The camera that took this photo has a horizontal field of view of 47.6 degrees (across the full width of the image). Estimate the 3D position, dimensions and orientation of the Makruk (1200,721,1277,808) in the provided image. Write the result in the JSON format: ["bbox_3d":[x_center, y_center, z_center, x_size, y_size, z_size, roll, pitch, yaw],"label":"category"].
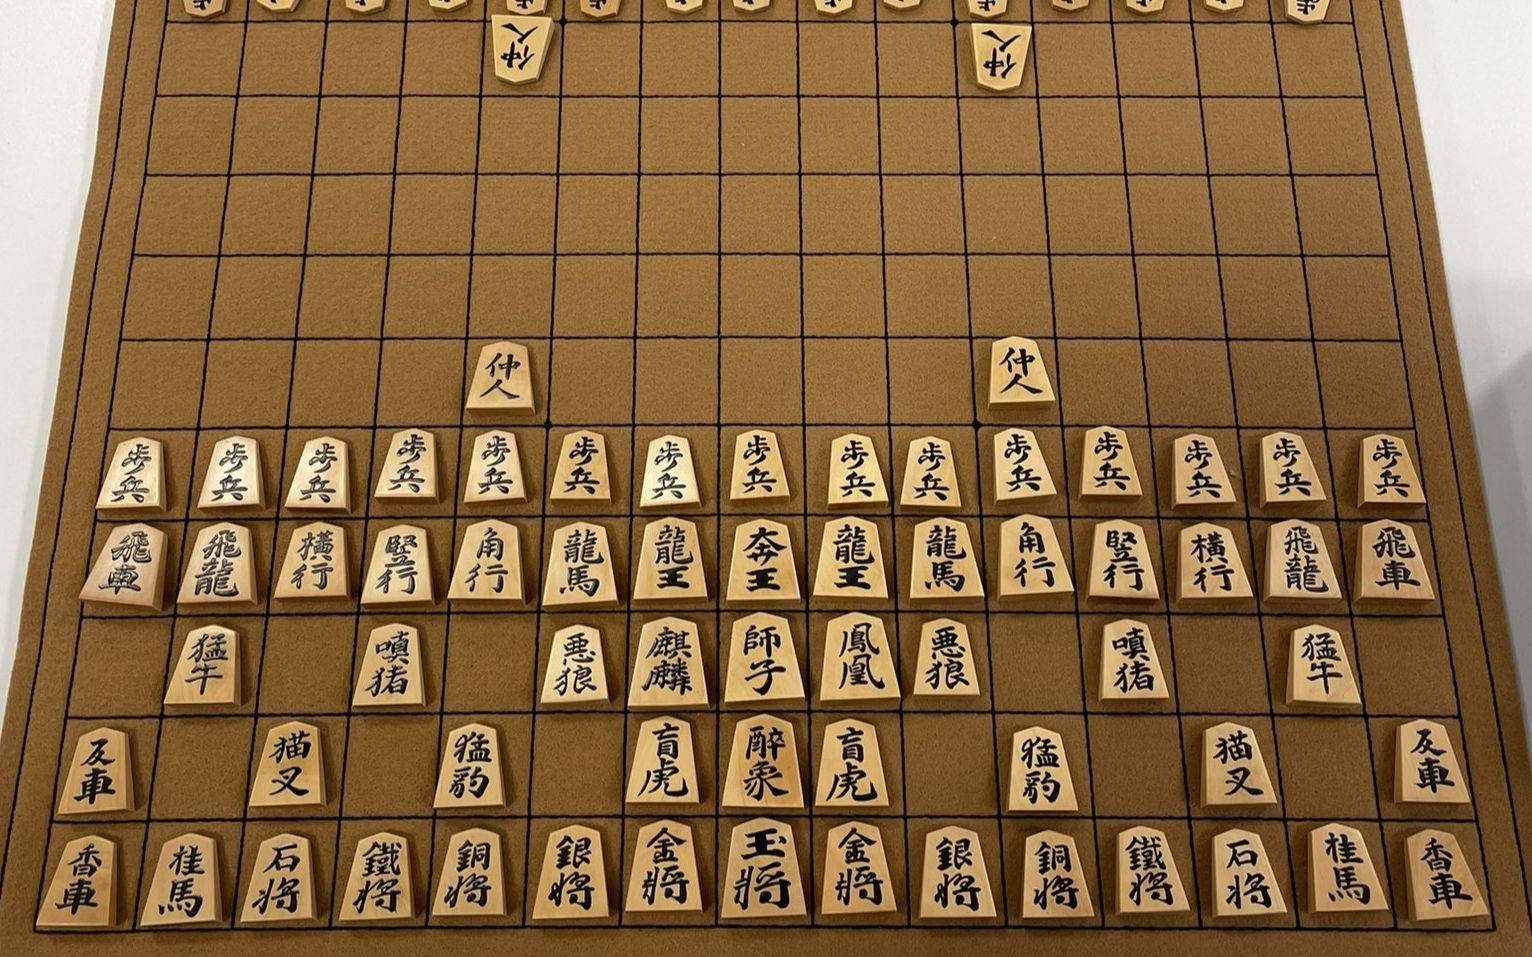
[{"bbox_3d":[1.111,0.682,4.084,0.176,0.068,0.212,-2,76,1],"label":"Makruk"}]

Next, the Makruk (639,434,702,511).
[{"bbox_3d":[-0.234,-0.004,4.194,0.180,0.026,0.249,-1,61,0],"label":"Makruk"}]

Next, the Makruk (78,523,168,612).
[{"bbox_3d":[-1.526,0.213,4.150,0.166,0.045,0.197,2,68,-3],"label":"Makruk"}]

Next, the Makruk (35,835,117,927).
[{"bbox_3d":[-1.609,0.944,4.047,0.172,0.173,0.129,1,28,-10],"label":"Makruk"}]

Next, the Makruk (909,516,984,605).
[{"bbox_3d":[0.434,0.197,4.160,0.173,0.154,0.125,7,28,2],"label":"Makruk"}]

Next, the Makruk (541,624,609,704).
[{"bbox_3d":[-0.452,0.442,4.124,0.153,0.144,0.121,3,28,-6],"label":"Makruk"}]

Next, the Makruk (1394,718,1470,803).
[{"bbox_3d":[1.569,0.668,4.090,0.165,0.152,0.120,5,28,-1],"label":"Makruk"}]

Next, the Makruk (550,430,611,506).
[{"bbox_3d":[-0.449,-0.015,4.196,0.191,0.028,0.246,0,57,-1],"label":"Makruk"}]

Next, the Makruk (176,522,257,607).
[{"bbox_3d":[-1.315,0.210,4.162,0.180,0.158,0.128,2,28,-8],"label":"Makruk"}]

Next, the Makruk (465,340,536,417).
[{"bbox_3d":[-0.662,-0.244,4.246,0.139,0.037,0.179,3,71,-4],"label":"Makruk"}]

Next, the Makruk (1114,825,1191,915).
[{"bbox_3d":[0.892,0.918,4.046,0.154,0.042,0.184,-5,73,1],"label":"Makruk"}]

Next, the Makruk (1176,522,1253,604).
[{"bbox_3d":[1.081,0.209,4.181,0.167,0.047,0.209,4,62,7],"label":"Makruk"}]

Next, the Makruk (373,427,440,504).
[{"bbox_3d":[-0.872,-0.032,4.220,0.149,0.041,0.193,-8,65,7],"label":"Makruk"}]

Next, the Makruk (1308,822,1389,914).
[{"bbox_3d":[1.341,0.915,4.046,0.157,0.183,0.185,-2,79,5],"label":"Makruk"}]

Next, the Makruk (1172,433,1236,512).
[{"bbox_3d":[1.055,-0.015,4.194,0.146,0.140,0.115,5,28,-2],"label":"Makruk"}]

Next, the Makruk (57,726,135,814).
[{"bbox_3d":[-1.580,0.695,4.084,0.190,0.038,0.252,0,72,-3],"label":"Makruk"}]

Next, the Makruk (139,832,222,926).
[{"bbox_3d":[-1.363,0.938,4.053,0.180,0.174,0.129,3,28,-6],"label":"Makruk"}]

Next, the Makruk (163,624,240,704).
[{"bbox_3d":[-1.340,0.450,4.121,0.189,0.028,0.247,-1,61,-2],"label":"Makruk"}]

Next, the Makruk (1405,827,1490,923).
[{"bbox_3d":[1.573,0.927,4.031,0.165,0.048,0.190,-6,78,3],"label":"Makruk"}]

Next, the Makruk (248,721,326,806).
[{"bbox_3d":[-1.129,0.680,4.089,0.189,0.033,0.244,-1,65,-1],"label":"Makruk"}]

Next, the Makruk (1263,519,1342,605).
[{"bbox_3d":[1.276,0.203,4.153,0.154,0.042,0.182,-2,81,2],"label":"Makruk"}]

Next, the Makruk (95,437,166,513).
[{"bbox_3d":[-1.525,-0.004,4.234,0.140,0.039,0.173,-2,71,-3],"label":"Makruk"}]

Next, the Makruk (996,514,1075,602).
[{"bbox_3d":[0.646,0.188,4.159,0.173,0.157,0.120,4,28,-4],"label":"Makruk"}]

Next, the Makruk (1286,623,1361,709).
[{"bbox_3d":[1.315,0.447,4.112,0.156,0.044,0.186,-2,78,5],"label":"Makruk"}]

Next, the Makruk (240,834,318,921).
[{"bbox_3d":[-1.139,0.941,4.056,0.196,0.026,0.240,0,67,-2],"label":"Makruk"}]

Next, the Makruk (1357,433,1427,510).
[{"bbox_3d":[1.509,-0.006,4.188,0.178,0.026,0.241,2,63,2],"label":"Makruk"}]

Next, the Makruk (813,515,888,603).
[{"bbox_3d":[0.197,0.197,4.157,0.155,0.042,0.183,-1,76,2],"label":"Makruk"}]

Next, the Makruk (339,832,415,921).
[{"bbox_3d":[-0.912,0.935,4.057,0.169,0.171,0.124,0,28,-10],"label":"Makruk"}]

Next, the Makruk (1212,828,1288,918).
[{"bbox_3d":[1.110,0.926,4.043,0.157,0.041,0.181,-5,77,0],"label":"Makruk"}]

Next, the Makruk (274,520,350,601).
[{"bbox_3d":[-1.088,0.207,4.159,0.193,0.025,0.231,-1,62,-4],"label":"Makruk"}]

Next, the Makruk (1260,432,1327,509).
[{"bbox_3d":[1.270,-0.017,4.196,0.149,0.145,0.113,6,28,0],"label":"Makruk"}]

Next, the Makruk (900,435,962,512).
[{"bbox_3d":[0.396,-0.002,4.190,0.176,0.023,0.226,3,64,2],"label":"Makruk"}]

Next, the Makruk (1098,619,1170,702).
[{"bbox_3d":[0.871,0.442,4.122,0.172,0.068,0.212,-1,63,-1],"label":"Makruk"}]

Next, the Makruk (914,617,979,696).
[{"bbox_3d":[0.427,0.432,4.122,0.188,0.025,0.243,2,56,2],"label":"Makruk"}]

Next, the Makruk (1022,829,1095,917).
[{"bbox_3d":[0.681,0.923,4.053,0.159,0.156,0.122,4,28,-4],"label":"Makruk"}]

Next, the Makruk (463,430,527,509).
[{"bbox_3d":[-0.657,-0.012,4.195,0.184,0.031,0.240,-3,57,-3],"label":"Makruk"}]

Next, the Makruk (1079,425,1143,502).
[{"bbox_3d":[0.830,-0.034,4.219,0.140,0.065,0.177,-3,70,7],"label":"Makruk"}]

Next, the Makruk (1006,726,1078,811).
[{"bbox_3d":[0.647,0.690,4.080,0.192,0.025,0.231,0,66,-2],"label":"Makruk"}]

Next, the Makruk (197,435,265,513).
[{"bbox_3d":[-1.293,-0.001,4.192,0.183,0.033,0.251,-1,61,-5],"label":"Makruk"}]

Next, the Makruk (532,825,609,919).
[{"bbox_3d":[-0.453,0.920,4.059,0.170,0.174,0.131,3,28,-5],"label":"Makruk"}]

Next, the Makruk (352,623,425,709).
[{"bbox_3d":[-0.895,0.447,4.126,0.165,0.158,0.133,1,28,-10],"label":"Makruk"}]
